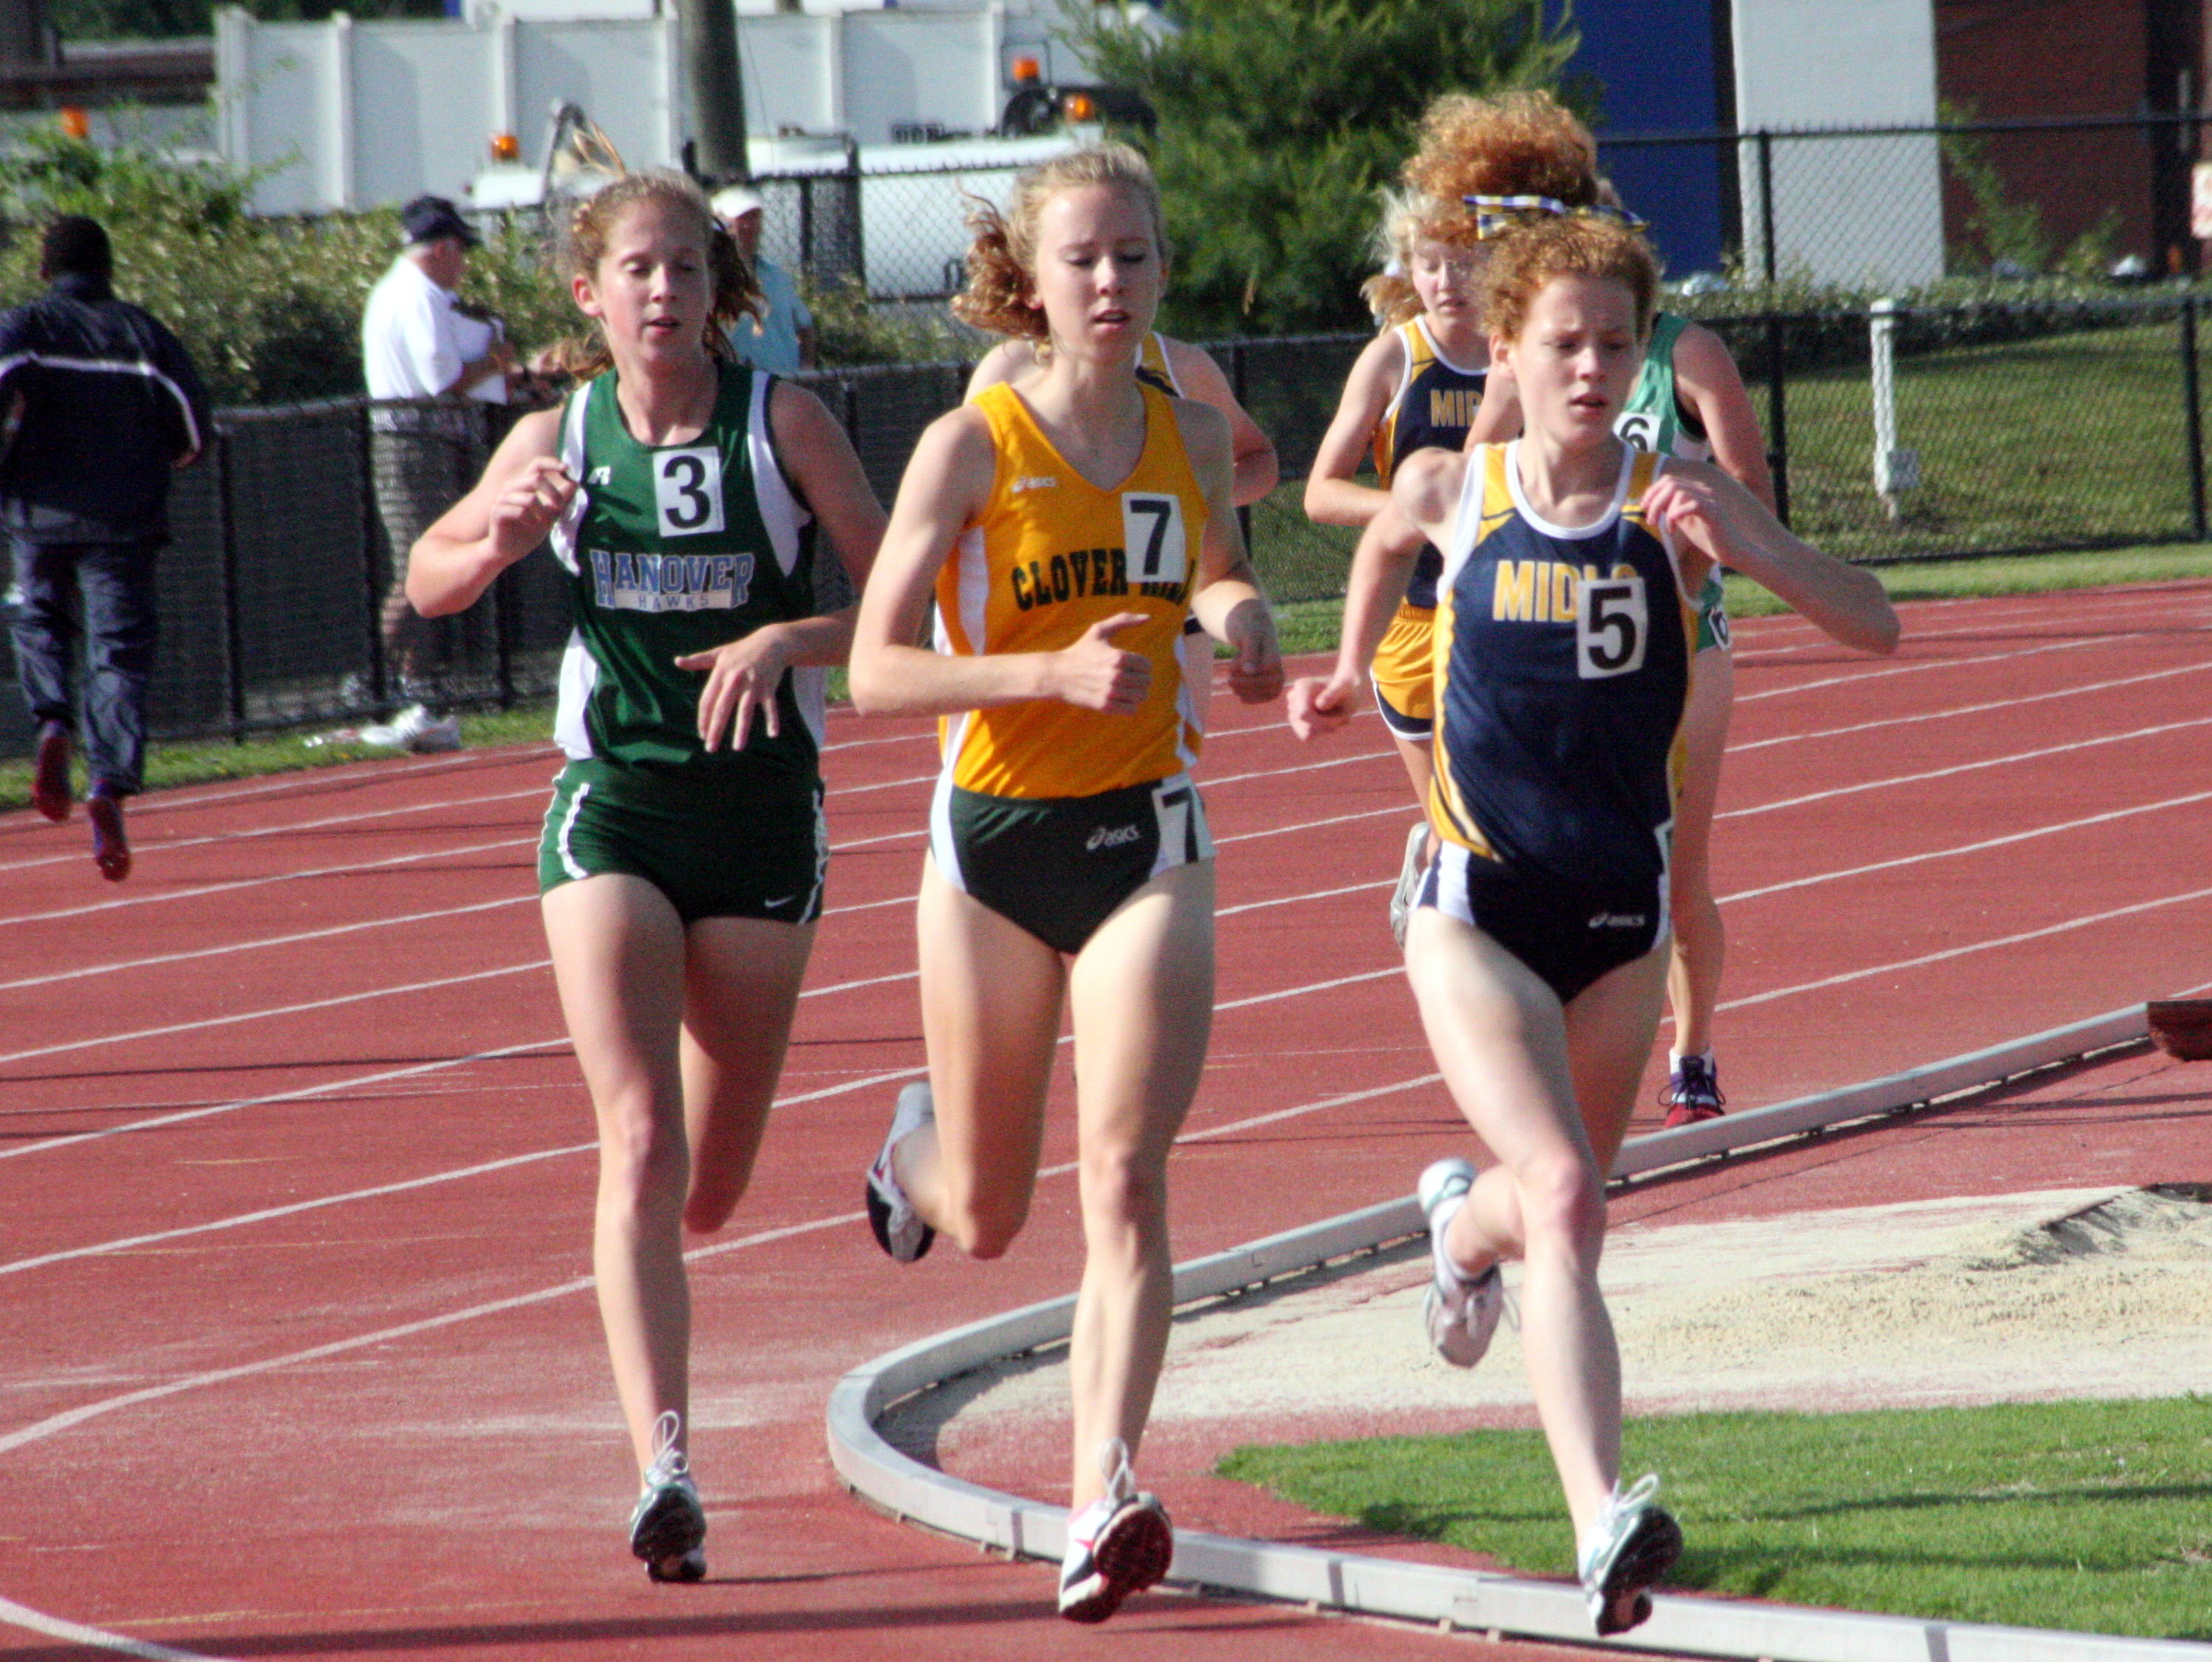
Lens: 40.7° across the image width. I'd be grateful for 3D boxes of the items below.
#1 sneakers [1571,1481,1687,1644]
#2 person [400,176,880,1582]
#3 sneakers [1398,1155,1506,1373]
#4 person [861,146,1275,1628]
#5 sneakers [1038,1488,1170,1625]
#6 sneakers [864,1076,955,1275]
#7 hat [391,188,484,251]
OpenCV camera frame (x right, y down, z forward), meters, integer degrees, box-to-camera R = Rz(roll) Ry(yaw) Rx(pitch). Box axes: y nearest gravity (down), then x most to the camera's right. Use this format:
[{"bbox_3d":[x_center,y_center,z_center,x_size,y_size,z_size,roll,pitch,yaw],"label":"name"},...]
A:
[{"bbox_3d":[0.883,1.235,5.083,0.115,0.321,0.143,-19,47,-41],"label":"sneakers"},{"bbox_3d":[-0.906,0.043,6.018,0.745,2.694,0.922,2,9,32],"label":"person"},{"bbox_3d":[0.700,0.905,6.002,0.150,0.483,0.201,-3,24,-3],"label":"sneakers"},{"bbox_3d":[-0.122,0.026,5.715,0.778,2.625,1.057,0,8,18],"label":"person"},{"bbox_3d":[0.011,1.291,5.315,0.141,0.298,0.130,36,10,33],"label":"sneakers"},{"bbox_3d":[-0.446,0.810,6.645,0.154,0.479,0.207,4,10,1],"label":"sneakers"},{"bbox_3d":[-3.387,-3.078,15.131,0.254,0.221,0.367,13,18,36],"label":"hat"}]
